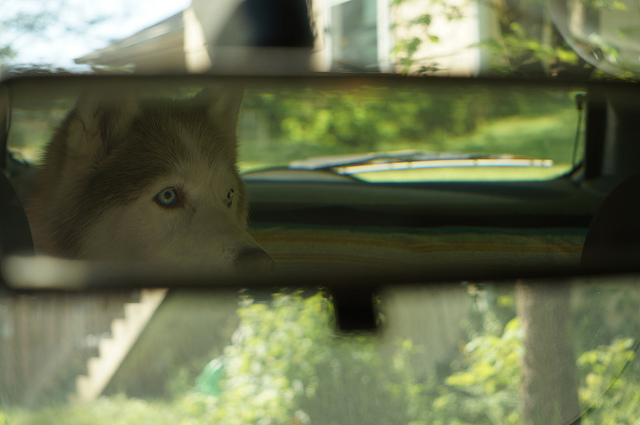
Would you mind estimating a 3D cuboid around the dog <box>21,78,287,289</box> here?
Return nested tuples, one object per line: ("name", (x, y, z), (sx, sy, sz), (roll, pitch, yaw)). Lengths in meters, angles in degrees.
("dog", (-0.711, -0.096, 3.071), (0.944, 0.861, 1.300), (-7, 17, -38))
